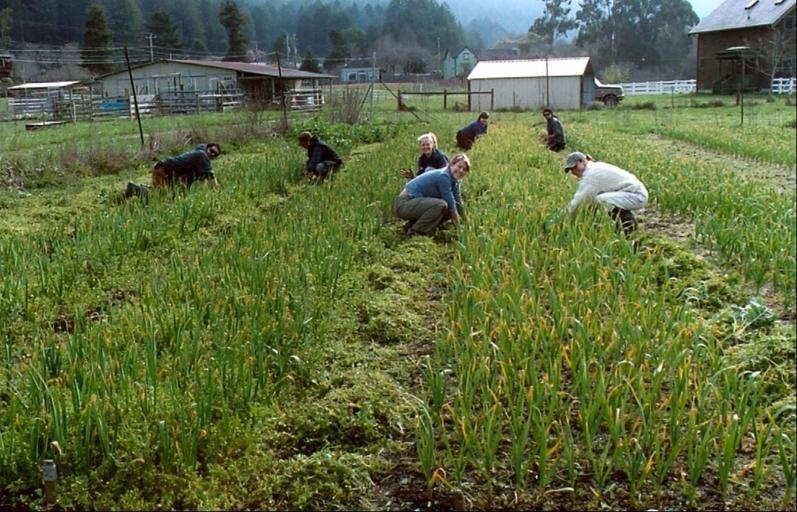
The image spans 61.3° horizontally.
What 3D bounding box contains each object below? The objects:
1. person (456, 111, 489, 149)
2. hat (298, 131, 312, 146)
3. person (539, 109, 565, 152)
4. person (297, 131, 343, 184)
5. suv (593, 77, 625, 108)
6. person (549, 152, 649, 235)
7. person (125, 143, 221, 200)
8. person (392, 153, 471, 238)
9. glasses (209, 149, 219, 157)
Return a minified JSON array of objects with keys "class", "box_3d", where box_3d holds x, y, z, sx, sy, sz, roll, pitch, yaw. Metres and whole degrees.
[{"class":"person","box_3d":[1.716,-2.987,15.864,0.620,1.172,0.415,14,56,-7]},{"class":"hat","box_3d":[-1.689,-2.115,12.341,0.225,0.301,0.469,-1,14,-4]},{"class":"person","box_3d":[3.783,-3.035,16.372,0.507,1.014,0.860,2,13,12]},{"class":"person","box_3d":[-1.491,-1.901,12.735,0.535,0.914,1.160,8,17,35]},{"class":"suv","box_3d":[11.945,-9.273,38.403,1.535,1.309,5.344,4,16,16]},{"class":"person","box_3d":[2.674,-0.830,8.815,1.075,1.111,0.861,-3,11,12]},{"class":"person","box_3d":[-3.624,-1.234,10.880,1.395,0.585,0.881,-21,49,-20]},{"class":"person","box_3d":[0.471,-0.822,9.068,1.057,1.090,0.618,8,15,31]},{"class":"glasses","box_3d":[-2.986,-1.680,10.967,0.073,0.095,0.111,-29,34,4]}]
